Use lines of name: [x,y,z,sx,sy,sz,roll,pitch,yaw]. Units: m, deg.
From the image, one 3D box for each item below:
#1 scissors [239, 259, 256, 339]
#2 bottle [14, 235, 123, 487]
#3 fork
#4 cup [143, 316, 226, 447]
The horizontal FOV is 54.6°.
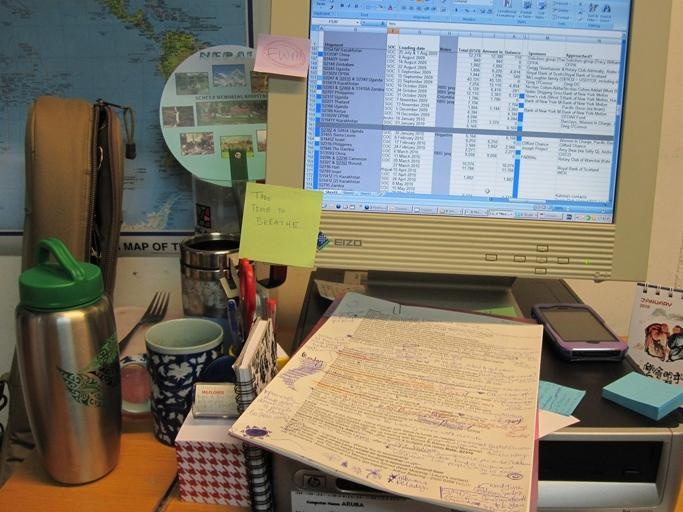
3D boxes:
scissors: [-0.136,0.064,0.960,0.010,0.133,0.076,-2,20,-19]
bottle: [-0.363,0.140,0.890,0.115,0.319,0.093,2,14,10]
fork: [-0.348,0.112,1.181,0.027,0.024,0.171,10,40,20]
cup: [-0.227,0.181,0.966,0.128,0.164,0.097,8,17,32]
